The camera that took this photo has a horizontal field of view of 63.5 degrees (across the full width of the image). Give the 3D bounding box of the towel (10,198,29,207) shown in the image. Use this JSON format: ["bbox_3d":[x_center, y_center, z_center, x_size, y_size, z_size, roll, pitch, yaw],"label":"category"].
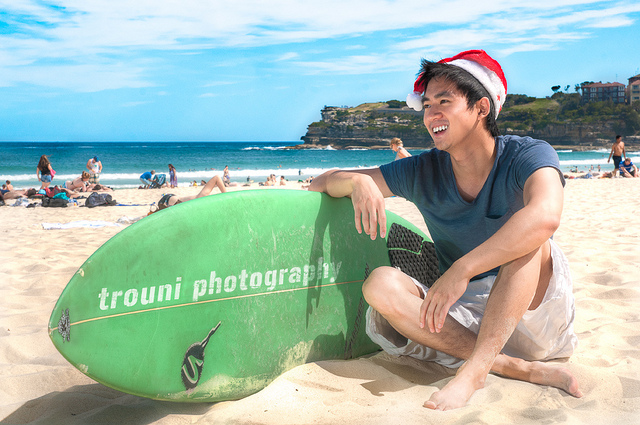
[{"bbox_3d":[-5.905,-0.183,10.225,0.199,0.086,0.272,5,5,33],"label":"towel"}]

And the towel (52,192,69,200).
[{"bbox_3d":[-4.932,-0.308,9.858,0.340,0.134,0.116,-3,-14,42],"label":"towel"}]

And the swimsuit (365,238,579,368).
[{"bbox_3d":[0.934,0.411,2.748,0.919,0.317,0.778,9,-19,-42],"label":"swimsuit"}]

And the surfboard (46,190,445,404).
[{"bbox_3d":[-0.352,0.407,2.685,1.872,1.021,0.267,-10,14,-29],"label":"surfboard"}]

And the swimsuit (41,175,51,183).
[{"bbox_3d":[-7.052,-0.860,13.321,0.289,0.208,0.158,1,-4,-5],"label":"swimsuit"}]

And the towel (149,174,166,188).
[{"bbox_3d":[-5.442,-1.019,17.367,0.326,0.573,0.170,32,5,15],"label":"towel"}]

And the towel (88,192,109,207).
[{"bbox_3d":[-4.258,-0.240,9.910,0.224,0.217,0.490,-1,12,13],"label":"towel"}]

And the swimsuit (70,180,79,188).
[{"bbox_3d":[-6.321,-0.708,13.238,0.151,0.128,0.633,-9,13,-27],"label":"swimsuit"}]
